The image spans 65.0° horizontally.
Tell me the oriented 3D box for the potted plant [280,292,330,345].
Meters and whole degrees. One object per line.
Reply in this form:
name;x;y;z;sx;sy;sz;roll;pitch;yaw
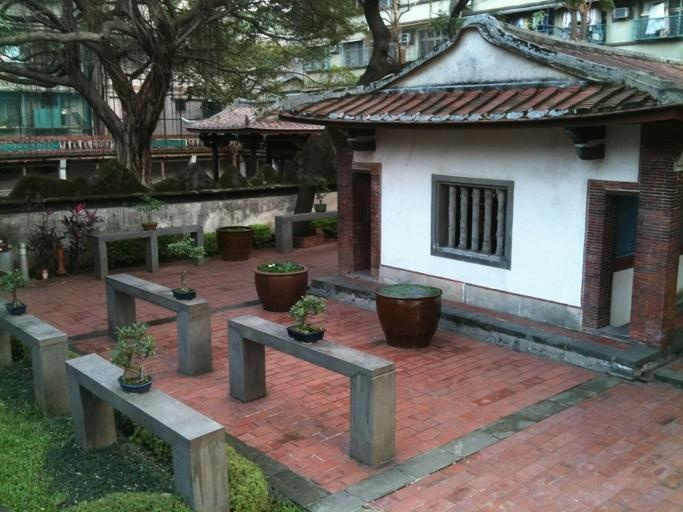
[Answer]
potted plant;-0.456;0.819;7.047;0.434;0.566;0.476;-11;18;-37

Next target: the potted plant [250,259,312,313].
potted plant;-1.313;0.730;11.734;1.311;0.801;1.238;1;6;27

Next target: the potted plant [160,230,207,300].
potted plant;-2.877;0.264;9.927;0.876;1.062;0.715;4;-7;-38

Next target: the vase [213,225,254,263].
vase;-3.261;-0.359;16.552;1.201;0.831;1.234;3;5;35
